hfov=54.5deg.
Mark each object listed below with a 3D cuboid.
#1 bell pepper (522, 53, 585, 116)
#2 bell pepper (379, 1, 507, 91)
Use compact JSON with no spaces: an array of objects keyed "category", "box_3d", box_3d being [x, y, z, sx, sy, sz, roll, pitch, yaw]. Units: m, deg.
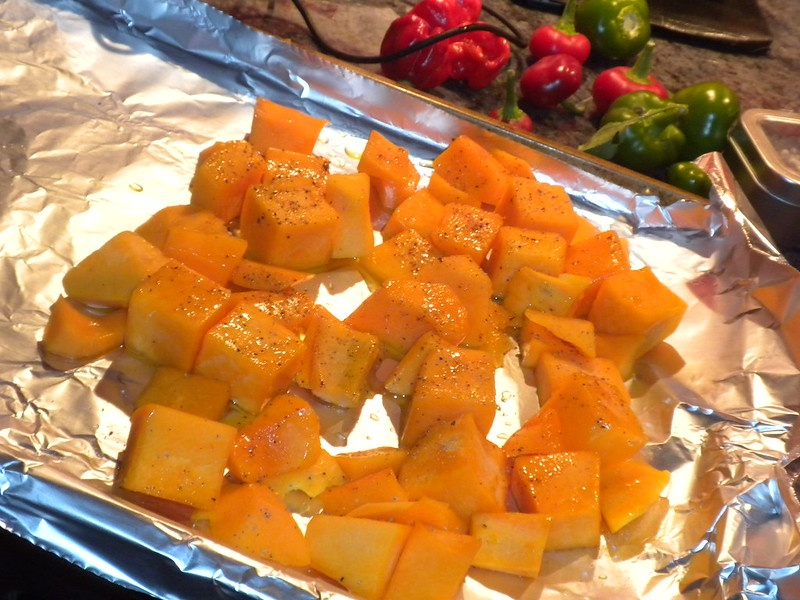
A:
[{"category":"bell pepper","box_3d":[0.763,-1.065,3.857,0.279,0.362,0.153,0,94,-51]},{"category":"bell pepper","box_3d":[0.240,-1.231,3.845,0.665,0.348,0.401,-7,87,-16]}]
